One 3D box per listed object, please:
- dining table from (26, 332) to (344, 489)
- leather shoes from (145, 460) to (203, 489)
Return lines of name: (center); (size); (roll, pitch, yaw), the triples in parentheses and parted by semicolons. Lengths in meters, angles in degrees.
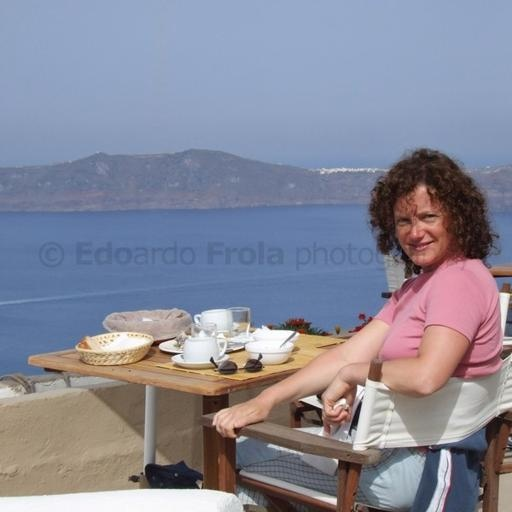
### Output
dining table: (-0.188, 0.471, 2.176); (0.868, 0.364, 0.694); (-2, -3, 36)
leather shoes: (-0.317, 0.828, 2.301); (0.243, 0.075, 0.211); (1, -5, -8)
